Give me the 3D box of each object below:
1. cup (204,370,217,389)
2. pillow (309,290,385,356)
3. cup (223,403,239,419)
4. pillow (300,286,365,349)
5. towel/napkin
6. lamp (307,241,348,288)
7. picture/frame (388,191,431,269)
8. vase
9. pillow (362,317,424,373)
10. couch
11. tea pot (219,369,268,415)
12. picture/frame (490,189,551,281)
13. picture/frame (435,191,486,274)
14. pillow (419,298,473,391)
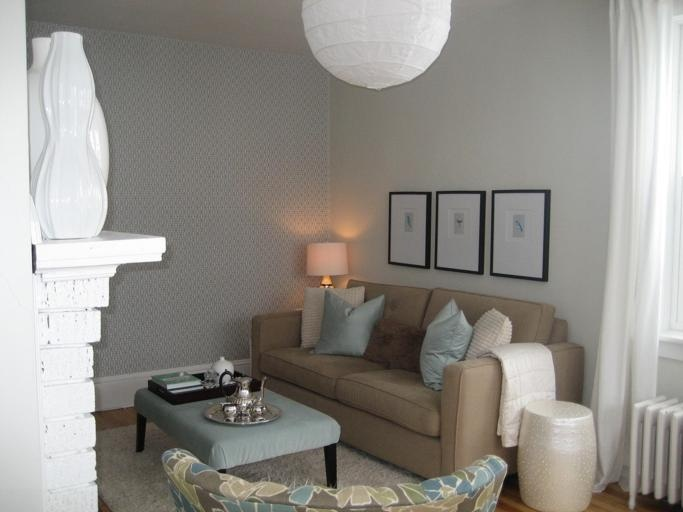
[{"bbox_3d":[-0.921,0.863,3.784,0.080,0.095,0.108,-3,-11,19],"label":"cup"},{"bbox_3d":[0.052,0.596,4.583,0.530,0.547,0.292,4,-3,27],"label":"pillow"},{"bbox_3d":[-0.650,0.908,3.154,0.077,0.083,0.061,-7,-5,33],"label":"cup"},{"bbox_3d":[-0.063,0.550,4.646,0.437,0.459,0.164,-5,-17,30],"label":"pillow"},{"bbox_3d":[1.070,0.823,3.334,0.443,0.636,0.214,3,-3,-33],"label":"towel/napkin"},{"bbox_3d":[-0.155,0.120,5.430,0.400,0.509,0.415,-1,-3,-18],"label":"lamp"},{"bbox_3d":[0.621,-0.236,4.797,0.080,0.857,0.647,1,0,-32],"label":"picture/frame"},{"bbox_3d":[-0.871,-0.373,1.710,0.214,0.641,0.081,-5,7,-32],"label":"vase"},{"bbox_3d":[0.429,0.690,4.162,0.148,0.313,0.502,27,-12,-30],"label":"pillow"},{"bbox_3d":[0.395,0.895,4.363,1.097,1.242,2.581,3,-2,-35],"label":"couch"},{"bbox_3d":[-0.596,0.832,3.234,0.273,0.293,0.141,2,-5,-7],"label":"tea pot"},{"bbox_3d":[1.331,-0.155,3.959,0.081,0.889,0.594,-3,4,-41],"label":"picture/frame"},{"bbox_3d":[0.978,-0.192,4.364,0.075,0.842,0.585,-3,6,-36],"label":"picture/frame"},{"bbox_3d":[0.709,0.598,3.755,0.270,0.533,0.504,5,11,6],"label":"pillow"}]
